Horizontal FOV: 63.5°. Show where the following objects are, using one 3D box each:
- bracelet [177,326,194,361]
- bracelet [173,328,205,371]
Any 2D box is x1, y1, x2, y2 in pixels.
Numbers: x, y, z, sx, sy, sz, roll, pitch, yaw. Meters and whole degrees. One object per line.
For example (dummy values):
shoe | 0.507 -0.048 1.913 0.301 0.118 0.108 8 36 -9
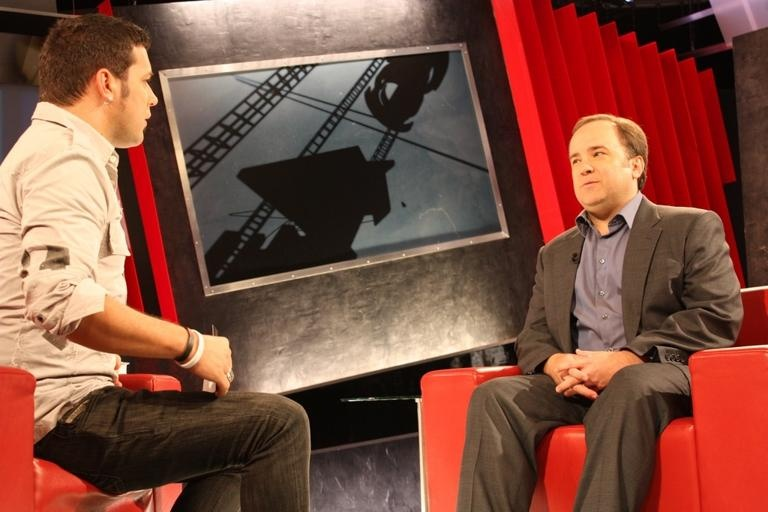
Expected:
bracelet | -0.551 0.244 1.751 0.022 0.076 0.076 15 -14 -25
bracelet | -0.560 0.263 1.763 0.039 0.107 0.094 11 -30 -40
